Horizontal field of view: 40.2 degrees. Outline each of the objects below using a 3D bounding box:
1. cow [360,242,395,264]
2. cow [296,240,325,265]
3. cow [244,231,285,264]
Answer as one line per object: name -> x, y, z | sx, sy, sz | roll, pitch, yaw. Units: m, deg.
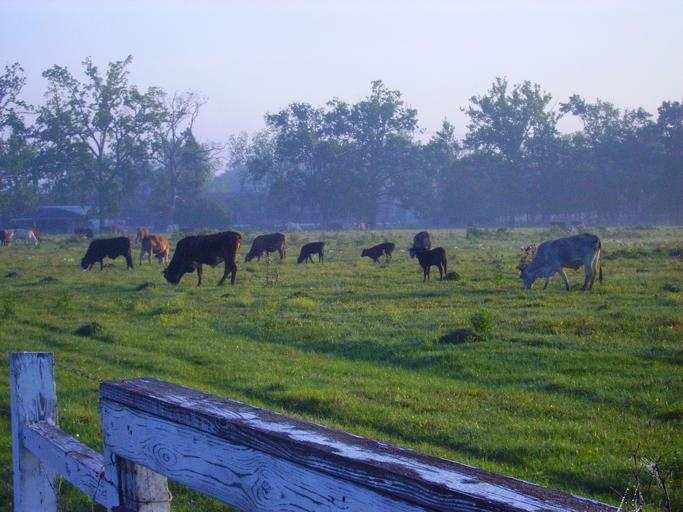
cow -> 1.801, -0.256, 46.551 | 1.392, 0.891, 2.366 | 2, 0, 24
cow -> -1.533, -0.222, 46.119 | 1.249, 0.966, 1.378 | 2, 0, -10
cow -> -3.857, -0.509, 47.537 | 2.529, 1.339, 0.884 | 2, 0, -40
